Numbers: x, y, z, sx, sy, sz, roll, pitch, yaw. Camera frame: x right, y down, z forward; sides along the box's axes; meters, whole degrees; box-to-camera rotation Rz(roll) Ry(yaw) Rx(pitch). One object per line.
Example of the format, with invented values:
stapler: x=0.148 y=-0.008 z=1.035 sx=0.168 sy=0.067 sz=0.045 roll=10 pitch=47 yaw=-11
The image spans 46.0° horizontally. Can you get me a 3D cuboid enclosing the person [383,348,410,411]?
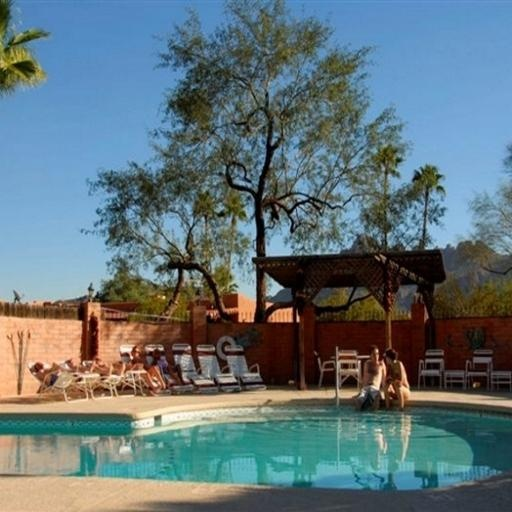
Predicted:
person: x=2.788 y=2.461 z=12.068 sx=0.486 sy=1.165 sz=0.597 roll=-6 pitch=-10 yaw=26

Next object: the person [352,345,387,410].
person: x=2.299 y=2.471 z=12.149 sx=0.602 sy=1.232 sz=0.761 roll=-3 pitch=-10 yaw=12
